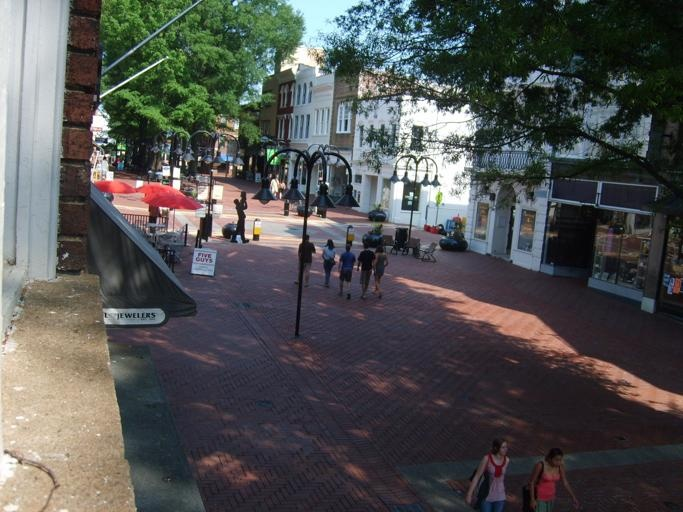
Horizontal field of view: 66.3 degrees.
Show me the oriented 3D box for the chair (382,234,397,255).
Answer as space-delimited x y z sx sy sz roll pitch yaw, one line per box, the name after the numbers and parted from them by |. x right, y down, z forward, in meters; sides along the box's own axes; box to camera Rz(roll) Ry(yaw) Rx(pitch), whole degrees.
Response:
2.702 -0.692 29.457 0.908 1.474 1.056 1 5 -11 | chair

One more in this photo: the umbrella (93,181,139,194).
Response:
-9.925 -3.027 23.066 1.348 0.554 1.921 0 11 -28 | umbrella

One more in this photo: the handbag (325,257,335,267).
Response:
-0.363 0.217 20.167 0.367 0.290 0.514 -2 3 -31 | handbag
